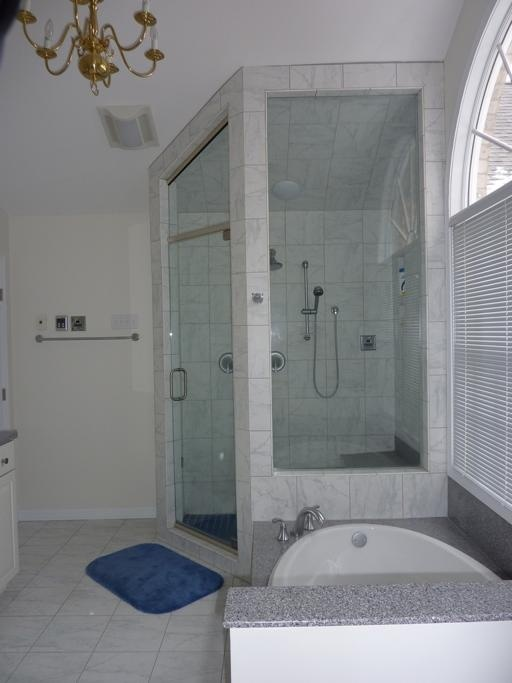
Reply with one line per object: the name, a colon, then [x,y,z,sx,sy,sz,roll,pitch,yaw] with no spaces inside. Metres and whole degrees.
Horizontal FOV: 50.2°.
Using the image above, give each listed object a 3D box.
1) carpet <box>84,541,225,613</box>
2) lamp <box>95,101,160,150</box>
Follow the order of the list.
carpet: [-0.571,1.256,2.946,0.494,0.025,0.854,-3,1,-43]
lamp: [-0.728,-1.226,3.153,0.303,0.098,0.421,-2,1,-4]
